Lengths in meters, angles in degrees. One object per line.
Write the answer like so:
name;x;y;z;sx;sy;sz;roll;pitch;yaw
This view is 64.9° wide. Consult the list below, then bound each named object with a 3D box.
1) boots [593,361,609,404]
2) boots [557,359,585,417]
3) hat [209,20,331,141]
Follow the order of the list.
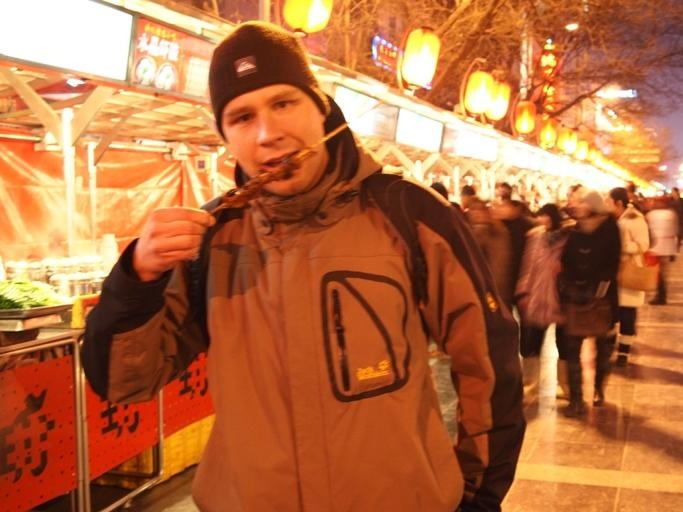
boots;2.953;1.444;6.118;0.120;0.465;0.289;1;7;30
boots;2.589;1.443;6.030;0.280;0.524;0.734;0;6;21
hat;-0.253;-0.557;1.842;0.336;0.276;0.360;-21;-16;-3
